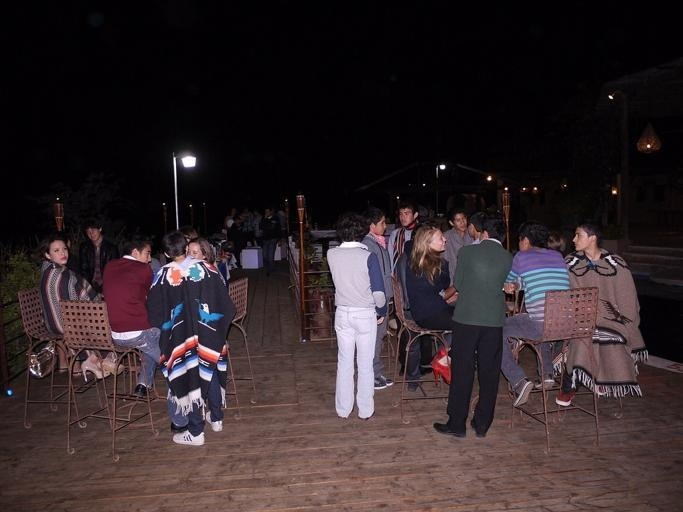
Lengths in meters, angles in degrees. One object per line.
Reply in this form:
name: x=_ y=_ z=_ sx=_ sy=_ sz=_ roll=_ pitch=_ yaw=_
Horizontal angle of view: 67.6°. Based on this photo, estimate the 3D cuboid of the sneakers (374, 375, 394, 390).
sneakers: x=0.541 y=1.729 z=6.918 sx=0.329 sy=0.161 sz=0.119 roll=-2 pitch=10 yaw=-2

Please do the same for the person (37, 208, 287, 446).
person: x=-1.875 y=0.866 z=5.754 sx=1.338 sy=2.303 sz=0.742 roll=7 pitch=15 yaw=33

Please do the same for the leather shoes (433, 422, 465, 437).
leather shoes: x=1.198 y=1.945 z=5.675 sx=0.307 sy=0.140 sz=0.138 roll=6 pitch=10 yaw=35

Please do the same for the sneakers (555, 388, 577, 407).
sneakers: x=2.662 y=1.696 z=6.073 sx=0.118 sy=0.144 sz=0.338 roll=1 pitch=-4 yaw=32

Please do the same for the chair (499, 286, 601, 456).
chair: x=2.469 y=1.157 z=5.783 sx=0.941 sy=1.692 sz=1.434 roll=5 pitch=14 yaw=25

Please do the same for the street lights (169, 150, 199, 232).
street lights: x=-4.680 y=-1.798 z=14.995 sx=0.744 sy=2.440 sz=0.519 roll=-4 pitch=16 yaw=-25

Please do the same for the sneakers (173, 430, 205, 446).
sneakers: x=-1.673 y=2.002 z=5.648 sx=0.336 sy=0.167 sz=0.152 roll=7 pitch=8 yaw=1

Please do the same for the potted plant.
potted plant: x=-0.570 y=0.623 z=9.719 sx=0.706 sy=0.841 sz=2.367 roll=1 pitch=37 yaw=-3

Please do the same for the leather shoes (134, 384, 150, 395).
leather shoes: x=-2.483 y=1.669 z=6.348 sx=0.100 sy=0.144 sz=0.300 roll=1 pitch=-5 yaw=1

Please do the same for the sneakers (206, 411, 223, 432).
sneakers: x=-1.471 y=1.932 z=5.852 sx=0.112 sy=0.142 sz=0.328 roll=-1 pitch=14 yaw=-16

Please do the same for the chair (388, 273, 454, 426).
chair: x=1.102 y=1.138 z=6.538 sx=1.021 sy=1.824 sz=1.031 roll=1 pitch=-7 yaw=24
